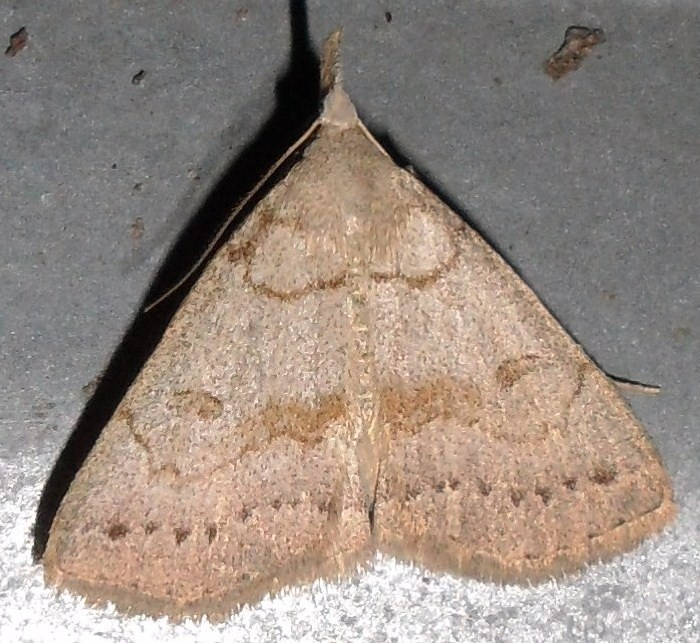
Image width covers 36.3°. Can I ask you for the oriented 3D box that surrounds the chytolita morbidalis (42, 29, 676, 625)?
[{"bbox_3d":[-0.028,-0.046,2.977,1.429,1.523,0.121,-2,7,1],"label":"chytolita morbidalis"}]
